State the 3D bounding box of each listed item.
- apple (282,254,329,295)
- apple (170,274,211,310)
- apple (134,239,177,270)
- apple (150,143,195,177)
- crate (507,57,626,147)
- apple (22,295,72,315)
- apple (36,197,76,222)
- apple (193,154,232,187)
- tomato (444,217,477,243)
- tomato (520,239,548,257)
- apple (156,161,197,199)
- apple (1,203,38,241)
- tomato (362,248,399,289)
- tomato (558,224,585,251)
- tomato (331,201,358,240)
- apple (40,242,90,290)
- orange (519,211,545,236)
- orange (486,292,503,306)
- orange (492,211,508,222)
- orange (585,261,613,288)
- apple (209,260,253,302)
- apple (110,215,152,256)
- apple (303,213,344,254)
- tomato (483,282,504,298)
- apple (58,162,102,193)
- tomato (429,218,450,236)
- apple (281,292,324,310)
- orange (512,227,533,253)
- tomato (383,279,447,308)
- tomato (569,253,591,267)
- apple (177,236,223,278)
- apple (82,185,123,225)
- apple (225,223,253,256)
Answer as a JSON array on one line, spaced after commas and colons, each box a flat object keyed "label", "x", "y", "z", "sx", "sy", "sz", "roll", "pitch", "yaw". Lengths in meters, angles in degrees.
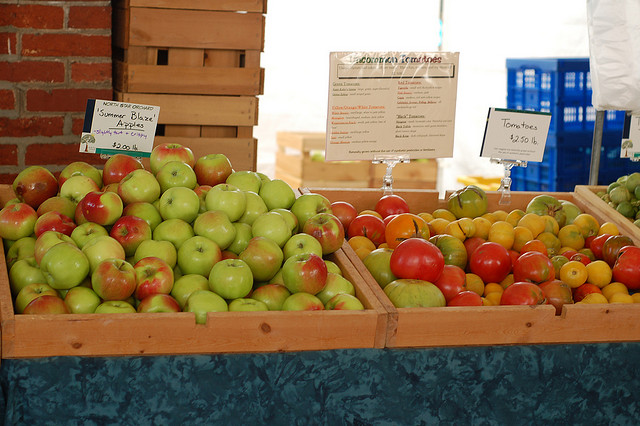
[{"label": "apple", "x": -0.053, "y": 0.213, "z": 2.048, "sx": 0.131, "sy": 0.144, "sz": 0.138, "roll": 5, "pitch": 12, "yaw": 35}, {"label": "apple", "x": -0.483, "y": 0.298, "z": 2.038, "sx": 0.131, "sy": 0.149, "sz": 0.137, "roll": -1, "pitch": 6, "yaw": -18}, {"label": "apple", "x": -0.604, "y": 0.153, "z": 2.023, "sx": 0.106, "sy": 0.119, "sz": 0.111, "roll": -1, "pitch": -7, "yaw": -11}, {"label": "apple", "x": -0.665, "y": -0.253, "z": 2.499, "sx": 0.149, "sy": 0.154, "sz": 0.152, "roll": 13, "pitch": 18, "yaw": 41}, {"label": "crate", "x": 1.990, "y": -0.942, "z": 4.693, "sx": 1.000, "sy": 0.719, "sz": 1.062, "roll": 0, "pitch": 10, "yaw": 0}, {"label": "apple", "x": -0.898, "y": 0.306, "z": 1.817, "sx": 0.085, "sy": 0.091, "sz": 0.087, "roll": 4, "pitch": -12, "yaw": -16}, {"label": "apple", "x": -1.047, "y": -0.028, "z": 2.230, "sx": 0.117, "sy": 0.110, "sz": 0.103, "roll": 8, "pitch": -31, "yaw": -29}, {"label": "apple", "x": -0.483, "y": -0.179, "z": 2.488, "sx": 0.134, "sy": 0.143, "sz": 0.134, "roll": 1, "pitch": 0, "yaw": -39}, {"label": "tomato", "x": 0.651, "y": 0.082, "z": 2.578, "sx": 0.104, "sy": 0.112, "sz": 0.104, "roll": -3, "pitch": 1, "yaw": -23}, {"label": "tomato", "x": 0.928, "y": 0.147, "z": 2.397, "sx": 0.081, "sy": 0.089, "sz": 0.085, "roll": -4, "pitch": -32, "yaw": 12}, {"label": "apple", "x": -0.596, "y": -0.151, "z": 2.307, "sx": 0.138, "sy": 0.151, "sz": 0.148, "roll": -7, "pitch": -33, "yaw": -10}, {"label": "apple", "x": -1.172, "y": 0.045, "z": 2.180, "sx": 0.126, "sy": 0.136, "sz": 0.127, "roll": 6, "pitch": -15, "yaw": -34}, {"label": "tomato", "x": 0.241, "y": 0.224, "z": 2.226, "sx": 0.127, "sy": 0.139, "sz": 0.132, "roll": 0, "pitch": -2, "yaw": -5}, {"label": "tomato", "x": 1.196, "y": 0.117, "z": 2.645, "sx": 0.106, "sy": 0.120, "sz": 0.112, "roll": 4, "pitch": 0, "yaw": 0}, {"label": "tomato", "x": 0.125, "y": 0.021, "z": 2.662, "sx": 0.127, "sy": 0.168, "sz": 0.138, "roll": 12, "pitch": -17, "yaw": 21}, {"label": "apple", "x": -0.878, "y": 0.175, "z": 1.955, "sx": 0.142, "sy": 0.159, "sz": 0.150, "roll": -15, "pitch": 12, "yaw": -1}, {"label": "orange", "x": 0.987, "y": 0.045, "z": 2.634, "sx": 0.121, "sy": 0.111, "sz": 0.091, "roll": -21, "pitch": 24, "yaw": -40}, {"label": "orange", "x": 0.692, "y": 0.340, "z": 2.205, "sx": 0.041, "sy": 0.025, "sz": 0.043, "roll": 1, "pitch": 6, "yaw": -5}, {"label": "orange", "x": 0.913, "y": 0.015, "z": 2.810, "sx": 0.052, "sy": 0.058, "sz": 0.055, "roll": 1, "pitch": 2, "yaw": 17}, {"label": "orange", "x": 1.168, "y": 0.257, "z": 2.380, "sx": 0.098, "sy": 0.109, "sz": 0.102, "roll": -21, "pitch": 2, "yaw": -3}, {"label": "apple", "x": -0.327, "y": 0.252, "z": 2.012, "sx": 0.144, "sy": 0.157, "sz": 0.152, "roll": 5, "pitch": 10, "yaw": -18}, {"label": "apple", "x": -0.697, "y": 0.099, "z": 2.110, "sx": 0.131, "sy": 0.147, "sz": 0.142, "roll": -8, "pitch": -6, "yaw": 3}, {"label": "apple", "x": 0.015, "y": 0.073, "z": 2.248, "sx": 0.145, "sy": 0.162, "sz": 0.152, "roll": -4, "pitch": 10, "yaw": -3}, {"label": "tomato", "x": 0.721, "y": 0.314, "z": 2.306, "sx": 0.055, "sy": 0.072, "sz": 0.059, "roll": 5, "pitch": -27, "yaw": -1}, {"label": "apple", "x": -1.051, "y": -0.155, "z": 2.455, "sx": 0.136, "sy": 0.146, "sz": 0.150, "roll": -6, "pitch": 47, "yaw": -9}, {"label": "tomato", "x": 0.572, "y": 0.070, "z": 2.645, "sx": 0.066, "sy": 0.090, "sz": 0.075, "roll": 0, "pitch": 1, "yaw": 35}, {"label": "apple", "x": -0.064, "y": 0.313, "z": 1.948, "sx": 0.136, "sy": 0.056, "sz": 0.092, "roll": 5, "pitch": 9, "yaw": 16}, {"label": "orange", "x": 0.918, "y": 0.115, "z": 2.537, "sx": 0.093, "sy": 0.101, "sz": 0.091, "roll": 25, "pitch": 38, "yaw": 32}, {"label": "tomato", "x": 0.349, "y": 0.297, "z": 2.045, "sx": 0.132, "sy": 0.103, "sz": 0.123, "roll": 6, "pitch": -5, "yaw": -43}, {"label": "tomato", "x": 1.150, "y": 0.197, "z": 2.452, "sx": 0.059, "sy": 0.066, "sz": 0.059, "roll": -6, "pitch": 6, "yaw": -20}, {"label": "apple", "x": -0.443, "y": 0.158, "z": 2.073, "sx": 0.133, "sy": 0.144, "sz": 0.143, "roll": 14, "pitch": 41, "yaw": -2}, {"label": "apple", "x": -0.850, "y": -0.015, "z": 2.169, "sx": 0.159, "sy": 0.160, "sz": 0.164, "roll": 2, "pitch": 4, "yaw": -18}, {"label": "apple", "x": -0.314, "y": 0.103, "z": 2.276, "sx": 0.103, "sy": 0.137, "sz": 0.109, "roll": 9, "pitch": -19, "yaw": -1}]
